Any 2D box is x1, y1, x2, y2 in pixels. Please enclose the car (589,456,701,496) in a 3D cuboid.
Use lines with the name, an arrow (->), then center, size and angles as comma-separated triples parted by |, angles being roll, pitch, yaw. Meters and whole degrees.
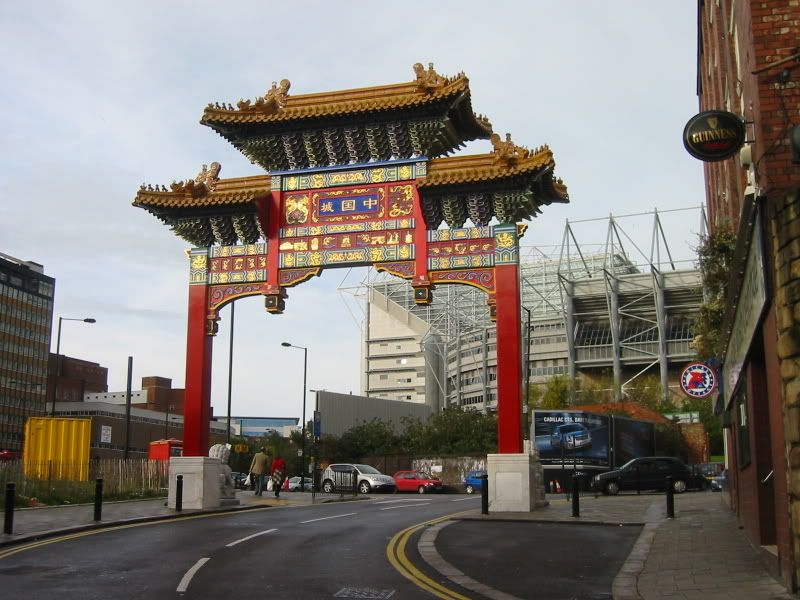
car -> 10.768, 7.693, 47.908 | 2.757, 1.867, 4.737 | -12, -17, 31

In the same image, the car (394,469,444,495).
car -> 0.985, 9.791, 57.943 | 1.610, 1.416, 2.844 | 10, -19, -42
